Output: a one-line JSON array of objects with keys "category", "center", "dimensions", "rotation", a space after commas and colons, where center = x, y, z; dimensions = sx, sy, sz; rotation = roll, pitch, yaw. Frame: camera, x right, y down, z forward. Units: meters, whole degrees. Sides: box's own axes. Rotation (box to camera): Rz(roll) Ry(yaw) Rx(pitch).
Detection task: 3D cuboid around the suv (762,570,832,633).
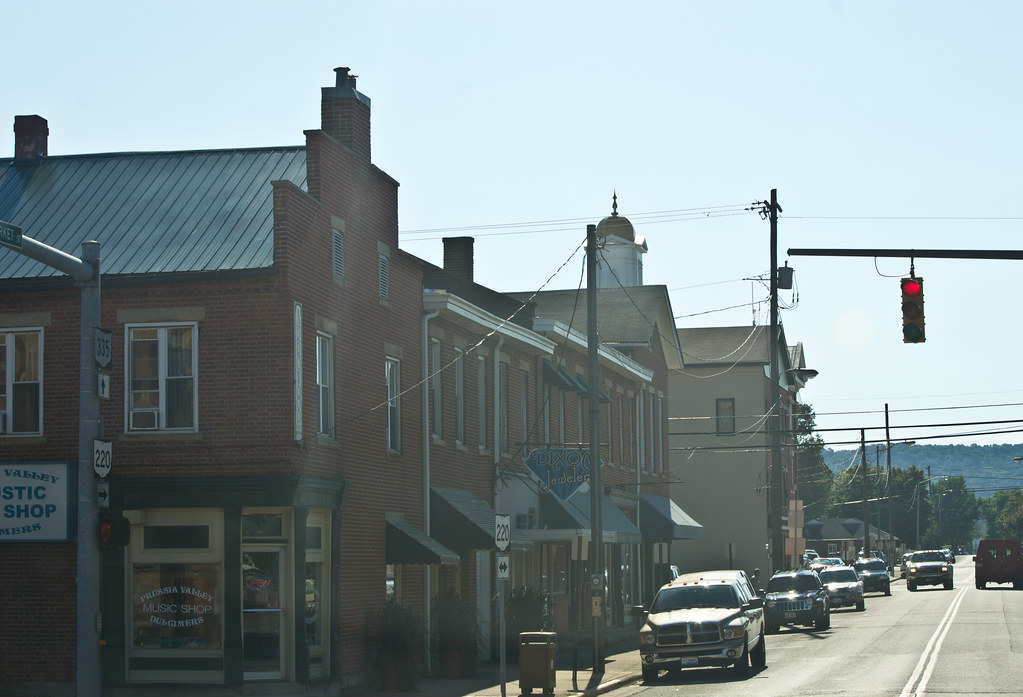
[{"category": "suv", "center": [9.164, 8.248, 73.508], "dimensions": [1.991, 2.123, 1.586], "rotation": [-6, -12, 10]}]
